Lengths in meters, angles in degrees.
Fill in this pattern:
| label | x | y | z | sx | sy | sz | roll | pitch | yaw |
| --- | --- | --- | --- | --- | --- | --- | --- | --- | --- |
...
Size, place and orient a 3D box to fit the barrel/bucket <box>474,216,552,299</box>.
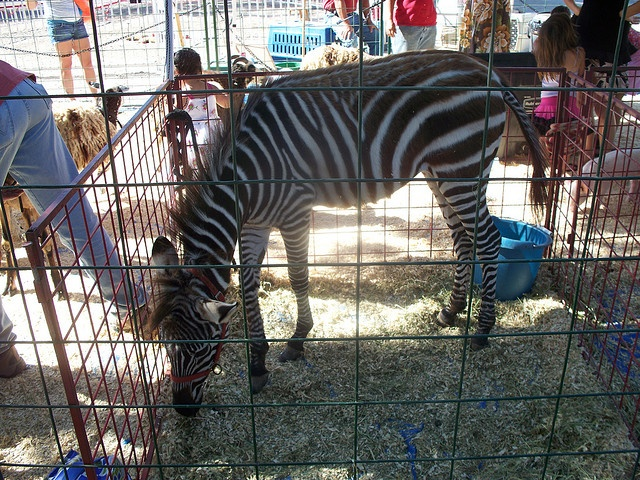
| label | x | y | z | sx | sy | sz | roll | pitch | yaw |
| --- | --- | --- | --- | --- | --- | --- | --- | --- | --- |
| barrel/bucket | 1.631 | 0.142 | 5.164 | 0.664 | 0.572 | 0.731 | 0 | 14 | 6 |
